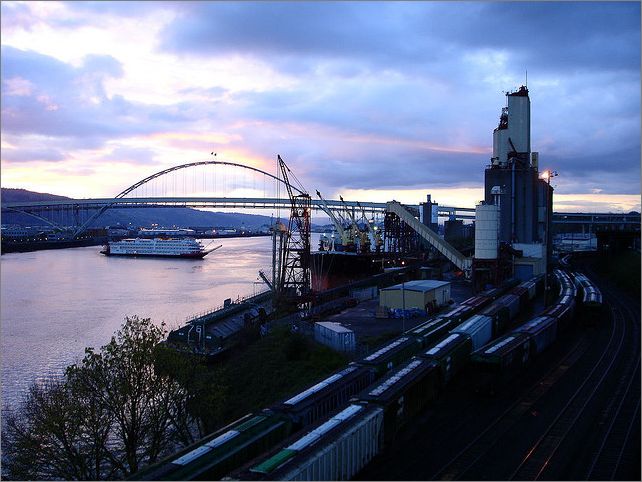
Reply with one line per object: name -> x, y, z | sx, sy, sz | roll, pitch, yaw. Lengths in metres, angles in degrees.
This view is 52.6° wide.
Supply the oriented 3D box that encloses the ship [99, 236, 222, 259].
ship -> -50.575, 2.007, 199.672 | 33.515, 6.533, 6.336 | 0, 6, 15
